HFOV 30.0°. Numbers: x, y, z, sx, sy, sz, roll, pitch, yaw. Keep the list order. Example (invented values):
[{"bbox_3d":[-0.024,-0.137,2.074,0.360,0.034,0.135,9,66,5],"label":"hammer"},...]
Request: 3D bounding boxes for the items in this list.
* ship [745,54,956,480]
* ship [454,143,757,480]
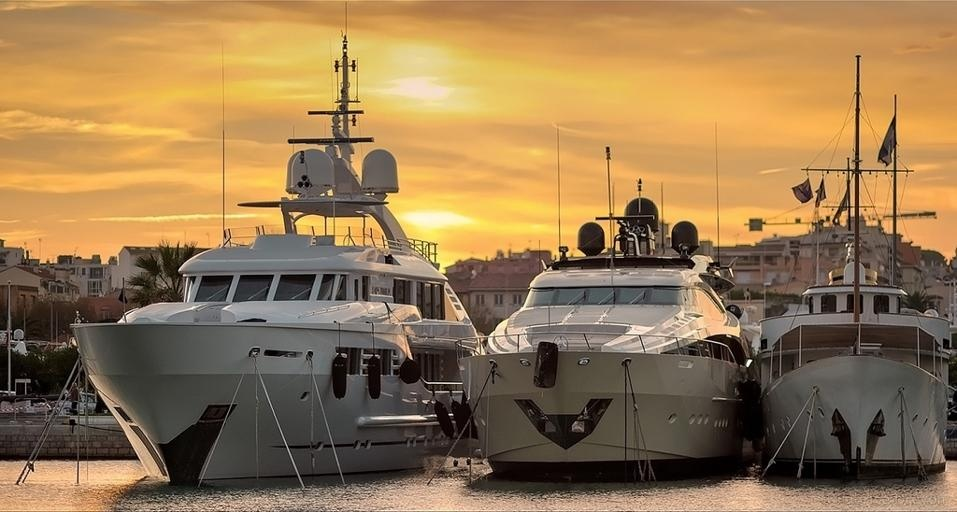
[{"bbox_3d":[14.630,0.436,68.492,7.149,15.925,8.051,-2,0,9],"label":"ship"},{"bbox_3d":[5.313,4.780,75.862,8.561,8.570,18.923,-2,-6,17],"label":"ship"}]
